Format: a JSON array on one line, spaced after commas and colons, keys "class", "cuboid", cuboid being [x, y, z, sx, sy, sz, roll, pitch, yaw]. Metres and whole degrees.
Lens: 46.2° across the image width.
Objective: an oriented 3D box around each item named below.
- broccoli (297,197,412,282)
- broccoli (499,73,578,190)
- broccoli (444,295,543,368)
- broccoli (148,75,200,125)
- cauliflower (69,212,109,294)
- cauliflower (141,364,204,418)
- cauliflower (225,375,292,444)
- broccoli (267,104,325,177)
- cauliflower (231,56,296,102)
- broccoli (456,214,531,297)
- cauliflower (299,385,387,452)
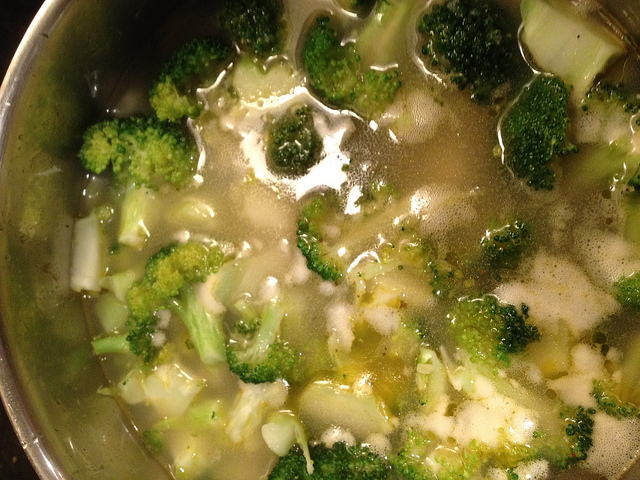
[{"class": "broccoli", "cuboid": [0.172, 0.002, 3.595, 0.353, 0.473, 0.426, -24, 95, -36]}, {"class": "broccoli", "cuboid": [0.974, -0.484, 3.378, 0.264, 0.195, 0.559, -2, 105, 2]}, {"class": "broccoli", "cuboid": [0.809, 0.370, 3.611, 0.295, 0.456, 0.330, -6, 99, -5]}, {"class": "broccoli", "cuboid": [-0.700, -0.653, 3.528, 0.193, 0.141, 0.249, -39, 86, -3]}, {"class": "cauliflower", "cuboid": [-1.117, 0.058, 3.653, 0.170, 0.109, 0.378, 5, 89, -15]}, {"class": "cauliflower", "cuboid": [-0.727, 0.746, 3.639, 0.254, 0.070, 0.263, -39, 92, -3]}, {"class": "cauliflower", "cuboid": [-0.309, 0.810, 3.653, 0.233, 0.182, 0.370, 8, 103, 40]}, {"class": "broccoli", "cuboid": [-0.112, -0.479, 3.537, 0.271, 0.120, 0.332, 1, 85, 0]}, {"class": "cauliflower", "cuboid": [-0.262, -0.775, 3.547, 0.296, 0.060, 0.194, -6, 85, -1]}, {"class": "broccoli", "cuboid": [0.811, 0.077, 3.515, 0.296, 0.083, 0.476, 35, 110, 4]}, {"class": "cauliflower", "cuboid": [0.113, 0.845, 3.761, 0.389, 0.588, 0.287, -7, 91, -21]}]
